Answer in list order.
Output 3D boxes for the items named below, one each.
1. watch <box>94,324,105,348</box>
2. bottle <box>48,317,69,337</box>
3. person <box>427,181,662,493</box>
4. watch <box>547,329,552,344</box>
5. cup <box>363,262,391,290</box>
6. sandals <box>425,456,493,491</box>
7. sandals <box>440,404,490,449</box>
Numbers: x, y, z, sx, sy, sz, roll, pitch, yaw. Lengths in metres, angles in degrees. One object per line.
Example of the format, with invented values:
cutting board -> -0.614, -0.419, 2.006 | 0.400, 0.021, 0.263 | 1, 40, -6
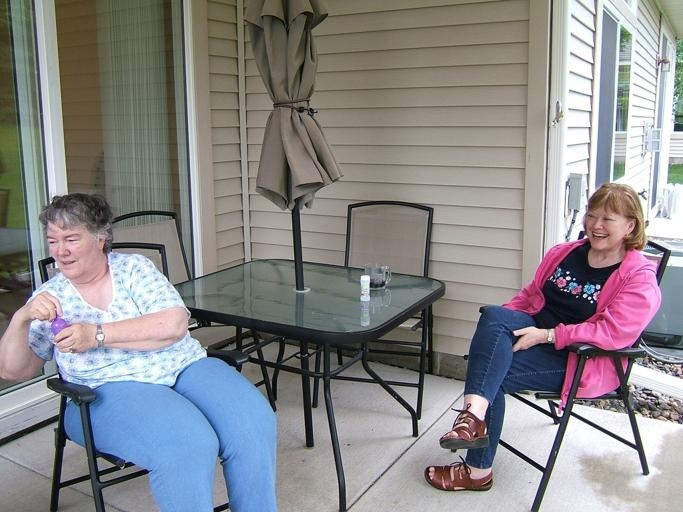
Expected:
watch -> -0.934, 0.305, 1.989 | 0.034, 0.078, 0.035 | -6, 15, -24
bottle -> -1.061, 0.264, 1.930 | 0.070, 0.066, 0.066 | -1, 13, -8
person -> 0.968, 0.404, 2.561 | 1.050, 1.513, 0.589 | -4, 14, -20
watch -> 1.016, 0.389, 2.513 | 0.034, 0.054, 0.048 | 3, 10, 20
cup -> 0.204, 0.115, 2.992 | 0.149, 0.126, 0.112 | 1, 5, 0
sandals -> 0.583, 1.112, 2.639 | 0.333, 0.141, 0.139 | 4, 19, 6
sandals -> 0.563, 0.803, 2.384 | 0.126, 0.163, 0.265 | -10, -16, 38
